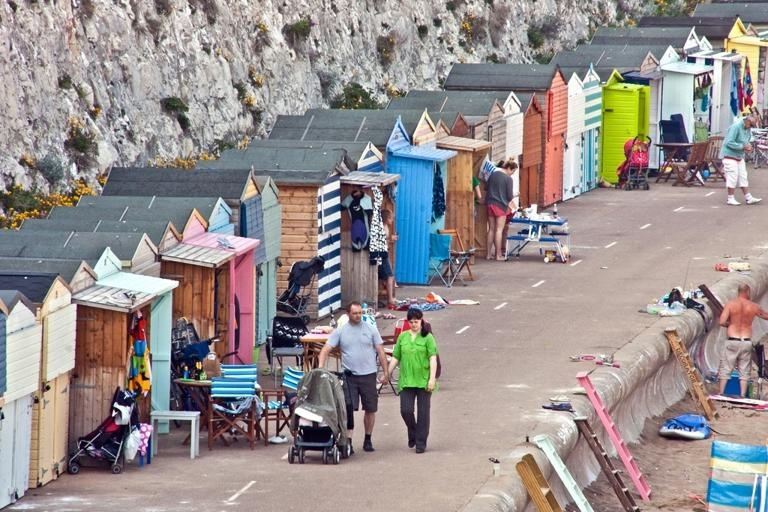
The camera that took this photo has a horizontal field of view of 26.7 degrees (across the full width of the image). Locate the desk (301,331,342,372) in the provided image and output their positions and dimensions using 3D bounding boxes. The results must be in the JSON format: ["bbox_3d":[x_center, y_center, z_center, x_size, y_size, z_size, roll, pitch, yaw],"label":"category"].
[{"bbox_3d":[-1.294,2.002,33.789,0.749,0.779,0.787,1,7,9],"label":"desk"}]

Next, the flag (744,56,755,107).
[{"bbox_3d":[13.466,-6.374,59.870,0.175,1.816,1.108,1,11,21],"label":"flag"}]

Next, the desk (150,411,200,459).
[{"bbox_3d":[-3.988,3.525,31.217,0.830,0.835,0.868,1,0,-1],"label":"desk"}]

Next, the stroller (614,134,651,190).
[{"bbox_3d":[7.938,-2.930,51.804,0.984,1.676,1.216,-1,10,13],"label":"stroller"}]

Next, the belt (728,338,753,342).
[{"bbox_3d":[7.960,1.895,36.273,0.493,0.110,0.130,-1,10,12],"label":"belt"}]

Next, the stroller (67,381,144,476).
[{"bbox_3d":[-5.325,3.332,31.020,1.332,1.780,1.559,2,-1,-2],"label":"stroller"}]

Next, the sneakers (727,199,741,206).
[{"bbox_3d":[10.522,-1.590,48.667,0.337,0.156,0.192,6,15,18],"label":"sneakers"}]

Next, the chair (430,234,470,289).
[{"bbox_3d":[1.644,0.172,40.923,1.064,1.326,0.996,4,3,28],"label":"chair"}]

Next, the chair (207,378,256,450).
[{"bbox_3d":[-2.927,3.079,31.386,0.980,1.287,0.819,-4,10,-6],"label":"chair"}]

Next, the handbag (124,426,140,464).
[{"bbox_3d":[-4.702,3.547,30.282,0.261,0.675,0.541,11,-13,1],"label":"handbag"}]

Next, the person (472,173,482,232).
[{"bbox_3d":[2.493,-1.385,42.698,0.239,1.459,0.767,-3,10,3],"label":"person"}]

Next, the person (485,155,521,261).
[{"bbox_3d":[3.082,-1.141,42.655,0.853,2.638,1.020,-3,10,4],"label":"person"}]

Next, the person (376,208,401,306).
[{"bbox_3d":[0.114,0.035,39.091,0.490,2.284,1.434,-3,10,0],"label":"person"}]

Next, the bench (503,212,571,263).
[{"bbox_3d":[4.269,-0.509,43.351,1.426,0.993,1.459,5,12,26],"label":"bench"}]

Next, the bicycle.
[{"bbox_3d":[-3.641,2.447,32.331,1.181,1.311,1.187,1,6,14],"label":"bicycle"}]

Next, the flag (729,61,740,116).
[{"bbox_3d":[12.728,-6.024,58.630,0.307,1.962,1.375,0,11,20],"label":"flag"}]

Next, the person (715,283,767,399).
[{"bbox_3d":[8.065,1.919,36.450,0.989,2.697,0.974,-1,10,12],"label":"person"}]

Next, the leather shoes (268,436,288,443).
[{"bbox_3d":[-2.046,3.638,31.579,0.279,0.109,0.159,1,2,-17],"label":"leather shoes"}]

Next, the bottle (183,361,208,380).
[{"bbox_3d":[-3.748,2.304,32.228,0.299,0.222,0.421,2,17,-5],"label":"bottle"}]

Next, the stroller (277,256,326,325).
[{"bbox_3d":[-1.916,0.705,36.755,1.127,1.775,1.304,3,6,2],"label":"stroller"}]

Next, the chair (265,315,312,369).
[{"bbox_3d":[-1.992,1.941,33.753,0.850,1.159,0.876,3,4,5],"label":"chair"}]

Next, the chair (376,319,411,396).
[{"bbox_3d":[0.023,2.129,34.271,0.931,1.405,0.813,-3,-3,3],"label":"chair"}]
